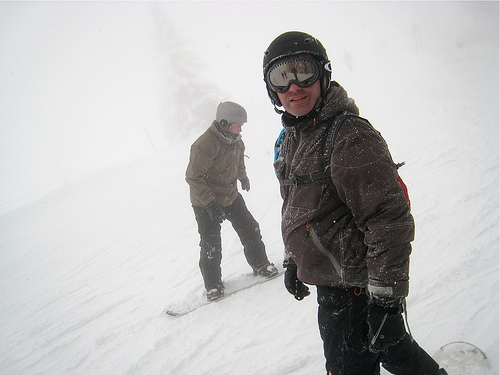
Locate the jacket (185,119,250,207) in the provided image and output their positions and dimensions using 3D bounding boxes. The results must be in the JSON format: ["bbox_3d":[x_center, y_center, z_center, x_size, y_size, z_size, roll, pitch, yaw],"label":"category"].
[{"bbox_3d":[-0.760,-0.567,10.718,1.207,2.173,2.073,11,20,37],"label":"jacket"}]

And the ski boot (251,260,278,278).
[{"bbox_3d":[0.370,2.041,10.507,0.623,0.342,0.307,-20,-8,32],"label":"ski boot"}]

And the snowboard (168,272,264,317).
[{"bbox_3d":[-0.734,2.624,10.212,1.322,0.220,0.369,-28,30,-10],"label":"snowboard"}]
